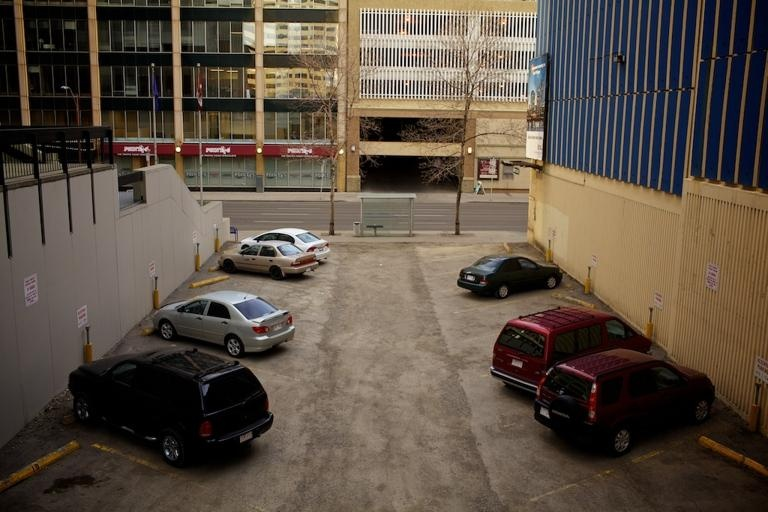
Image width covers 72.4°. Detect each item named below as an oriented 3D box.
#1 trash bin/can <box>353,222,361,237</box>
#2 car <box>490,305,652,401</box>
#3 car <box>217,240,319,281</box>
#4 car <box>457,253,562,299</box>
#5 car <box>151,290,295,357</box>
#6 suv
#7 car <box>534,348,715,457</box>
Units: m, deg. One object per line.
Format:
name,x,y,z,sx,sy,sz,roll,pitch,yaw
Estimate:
trash bin/can,-1.939,-1.934,38.032,0.545,0.927,0.459,-5,18,-15
car,6.332,3.048,17.414,5.302,2.506,2.656,-9,10,-31
car,-6.116,0.052,28.104,4.540,1.647,2.205,9,13,22
car,6.027,0.864,25.613,4.617,1.646,2.104,-10,15,-28
car,-5.868,2.536,19.570,4.605,1.750,2.235,11,13,23
suv,-5.617,3.422,13.909,5.076,1.968,2.453,15,15,27
car,6.487,3.660,14.271,4.673,1.937,2.114,-13,14,-29
